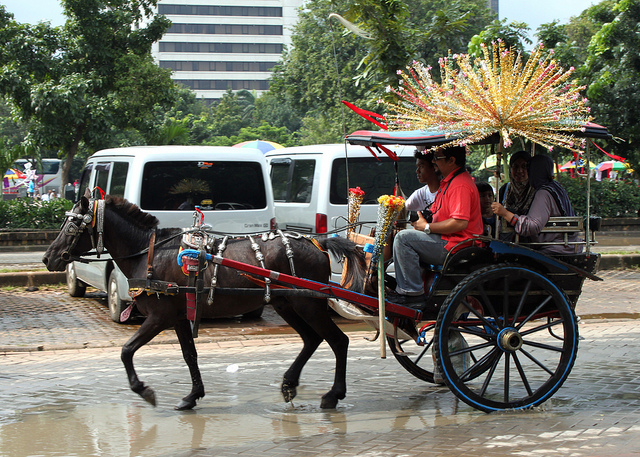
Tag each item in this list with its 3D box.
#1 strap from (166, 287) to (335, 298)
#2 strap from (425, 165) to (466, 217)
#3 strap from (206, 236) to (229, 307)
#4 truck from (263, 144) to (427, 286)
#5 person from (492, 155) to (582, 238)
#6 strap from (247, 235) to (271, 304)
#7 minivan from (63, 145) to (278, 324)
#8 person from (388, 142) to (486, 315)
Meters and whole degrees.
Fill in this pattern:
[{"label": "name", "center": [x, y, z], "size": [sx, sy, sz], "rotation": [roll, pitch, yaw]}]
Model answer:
[{"label": "strap", "center": [-0.723, 0.670, 7.228], "size": [1.708, 0.175, 0.099], "rotation": [-2, 10, -9]}, {"label": "strap", "center": [1.344, -0.377, 7.457], "size": [0.385, 0.548, 0.225], "rotation": [0, 11, 8]}, {"label": "strap", "center": [-1.057, 0.458, 7.297], "size": [0.161, 0.688, 0.403], "rotation": [3, 11, 22]}, {"label": "truck", "center": [0.344, -0.621, 11.772], "size": [2.563, 1.314, 3.176], "rotation": [-1, 3, -16]}, {"label": "person", "center": [2.148, -0.301, 7.659], "size": [1.212, 0.771, 1.266], "rotation": [1, 1, 20]}, {"label": "strap", "center": [-0.612, 0.441, 7.268], "size": [0.158, 0.804, 0.123], "rotation": [-28, -30, -8]}, {"label": "minivan", "center": [-2.504, -0.286, 11.467], "size": [3.119, 1.771, 4.139], "rotation": [-1, 3, -21]}, {"label": "person", "center": [1.223, 0.023, 7.388], "size": [0.969, 1.750, 0.497], "rotation": [0, 11, 8]}]
